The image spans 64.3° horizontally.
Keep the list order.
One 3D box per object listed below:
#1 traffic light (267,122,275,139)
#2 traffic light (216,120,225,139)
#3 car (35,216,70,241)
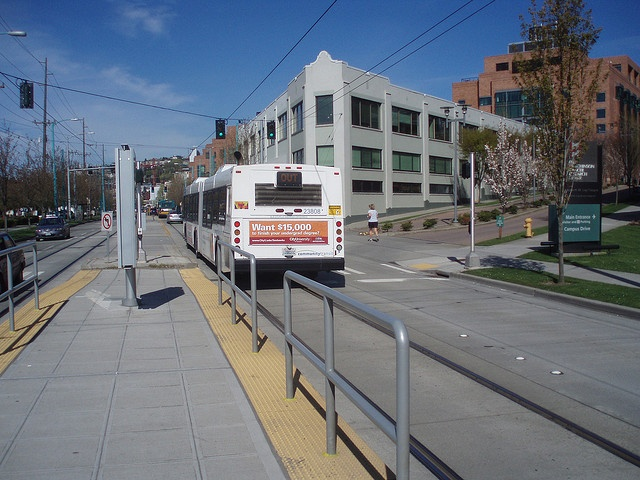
[{"bbox_3d":[-2.602,-5.824,26.895,0.308,0.880,1.225,0,6,-11],"label":"traffic light"},{"bbox_3d":[-5.217,-5.817,26.710,0.385,0.944,1.551,1,6,-8],"label":"traffic light"},{"bbox_3d":[-19.002,-0.807,36.300,1.372,1.260,2.461,-1,-3,-25],"label":"car"}]
